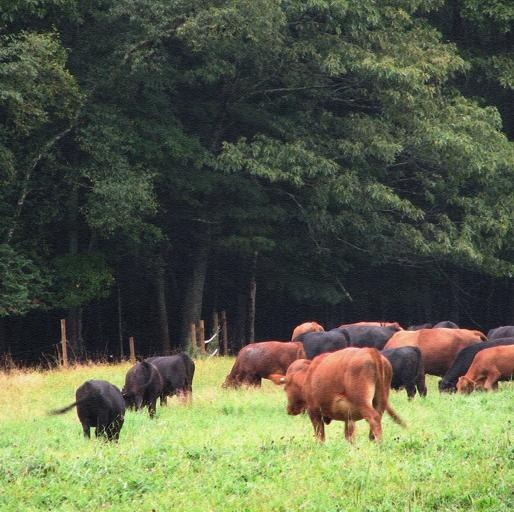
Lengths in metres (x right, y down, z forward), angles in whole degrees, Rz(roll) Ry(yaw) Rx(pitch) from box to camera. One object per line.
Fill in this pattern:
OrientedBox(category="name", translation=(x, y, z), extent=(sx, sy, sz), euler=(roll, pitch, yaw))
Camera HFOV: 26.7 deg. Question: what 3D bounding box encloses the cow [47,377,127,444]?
OrientedBox(category="cow", translation=(-3.731, 3.644, 25.597), extent=(1.109, 1.493, 0.566), euler=(-8, 9, -18))
